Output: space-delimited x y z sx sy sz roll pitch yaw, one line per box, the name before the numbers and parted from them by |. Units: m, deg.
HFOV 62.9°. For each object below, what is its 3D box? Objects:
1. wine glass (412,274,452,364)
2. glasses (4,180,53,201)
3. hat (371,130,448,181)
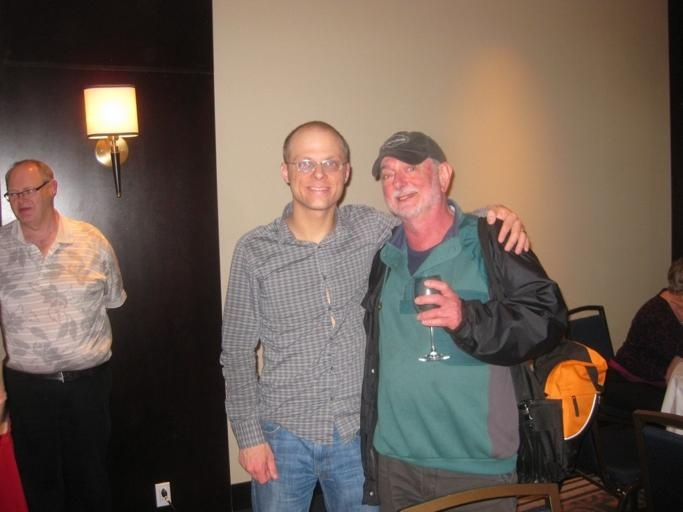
wine glass | 0.394 0.284 2.487 0.140 0.390 0.117 -3 6 22
glasses | -1.759 -0.354 3.098 0.130 0.038 0.132 -10 34 16
hat | 0.342 -0.504 2.722 0.208 0.150 0.293 -8 -16 41
